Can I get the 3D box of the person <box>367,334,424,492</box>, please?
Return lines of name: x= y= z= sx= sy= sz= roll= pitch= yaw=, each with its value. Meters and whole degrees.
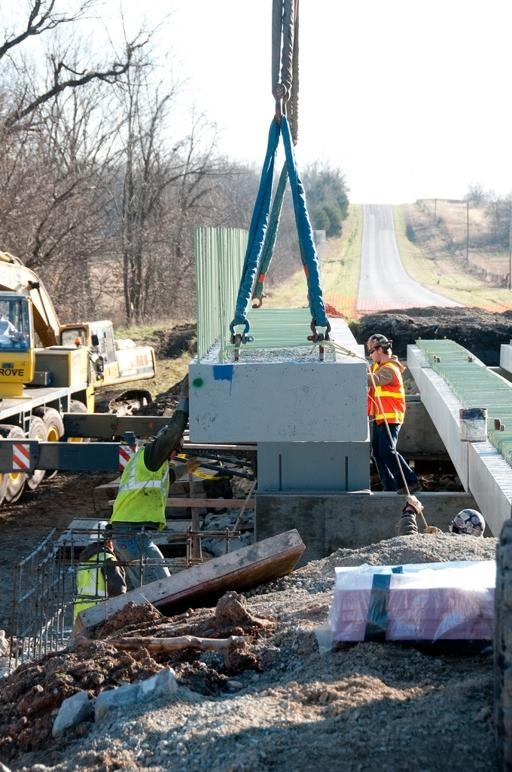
person: x=1.337 y=0.319 z=6.759 sx=0.470 sy=1.636 sz=1.402 roll=-2 pitch=4 yaw=10

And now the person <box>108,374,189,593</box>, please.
person: x=-0.790 y=0.878 z=5.125 sx=0.589 sy=1.612 sz=1.238 roll=-3 pitch=4 yaw=-11

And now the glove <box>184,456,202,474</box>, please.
glove: x=-0.570 y=0.718 z=6.242 sx=0.057 sy=0.152 sz=0.109 roll=13 pitch=-4 yaw=-3

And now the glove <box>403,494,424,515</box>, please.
glove: x=1.355 y=1.034 z=5.983 sx=0.183 sy=0.124 sz=0.245 roll=30 pitch=15 yaw=2

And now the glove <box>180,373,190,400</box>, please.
glove: x=-1.291 y=0.005 z=12.445 sx=0.150 sy=0.526 sz=0.597 roll=3 pitch=13 yaw=-6
